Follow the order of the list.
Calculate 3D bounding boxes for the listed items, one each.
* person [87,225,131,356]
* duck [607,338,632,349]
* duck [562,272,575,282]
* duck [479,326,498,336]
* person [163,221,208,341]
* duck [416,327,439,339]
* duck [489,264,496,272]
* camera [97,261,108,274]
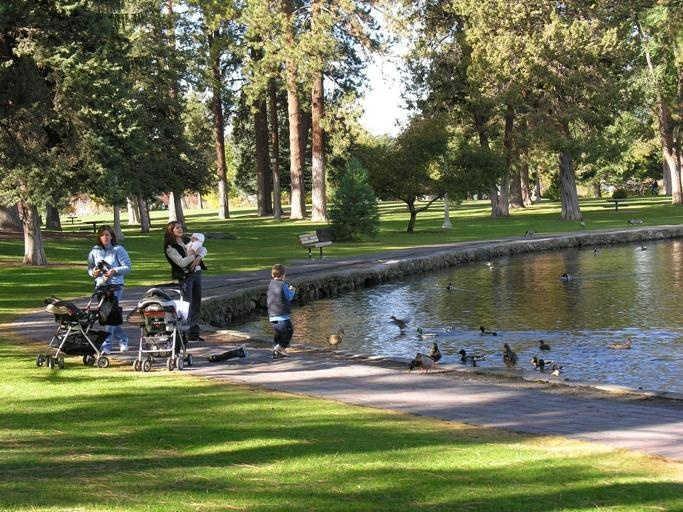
[{"bbox_3d":[-5.878,0.852,27.280,0.978,3.294,1.210,5,4,37],"label":"person"},{"bbox_3d":[7.888,2.494,30.075,0.596,0.350,0.285,1,1,-7],"label":"duck"},{"bbox_3d":[9.052,0.853,42.603,0.411,0.342,0.532,2,-5,5],"label":"duck"},{"bbox_3d":[4.428,2.286,32.035,0.237,0.277,0.455,6,-1,-39],"label":"duck"},{"bbox_3d":[-4.160,0.603,28.608,1.188,3.283,0.989,-2,5,-28],"label":"person"},{"bbox_3d":[2.556,2.410,32.259,0.711,0.420,0.244,10,-10,20],"label":"duck"},{"bbox_3d":[6.852,0.598,48.579,0.285,0.268,0.623,0,1,-4],"label":"duck"},{"bbox_3d":[-6.046,0.298,26.945,0.224,0.289,0.140,-7,6,8],"label":"camera"}]
